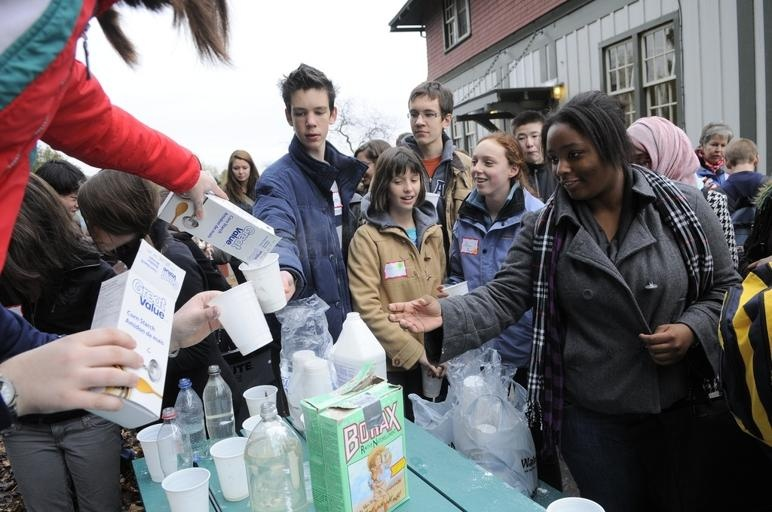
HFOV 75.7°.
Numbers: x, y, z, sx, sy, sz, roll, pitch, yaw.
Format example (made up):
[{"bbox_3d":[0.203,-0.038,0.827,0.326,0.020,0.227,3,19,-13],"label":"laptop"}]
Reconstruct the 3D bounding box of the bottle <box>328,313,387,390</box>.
[{"bbox_3d":[-0.136,0.407,2.136,0.226,0.255,0.150,-5,-2,8],"label":"bottle"}]

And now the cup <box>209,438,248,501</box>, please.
[{"bbox_3d":[-0.626,0.886,2.005,0.140,0.172,0.245,-4,-3,-19],"label":"cup"}]

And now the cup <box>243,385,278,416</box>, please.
[{"bbox_3d":[-0.579,0.648,2.267,0.184,0.137,0.177,-1,-2,0],"label":"cup"}]
